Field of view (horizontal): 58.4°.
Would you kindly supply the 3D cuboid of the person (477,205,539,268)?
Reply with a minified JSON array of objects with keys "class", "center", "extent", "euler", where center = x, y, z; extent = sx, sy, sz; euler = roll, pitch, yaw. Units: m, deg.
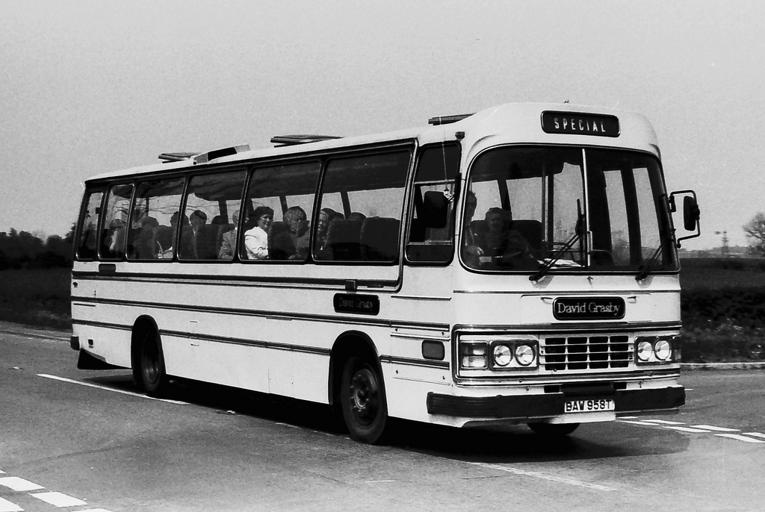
[{"class":"person","center":[1.411,-0.157,7.878],"extent":[0.553,0.773,0.234],"euler":[4,-20,-15]}]

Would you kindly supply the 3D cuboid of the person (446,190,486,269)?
[{"class":"person","center":[0.968,-0.295,7.875],"extent":[0.258,0.896,0.237],"euler":[-2,-5,22]}]
